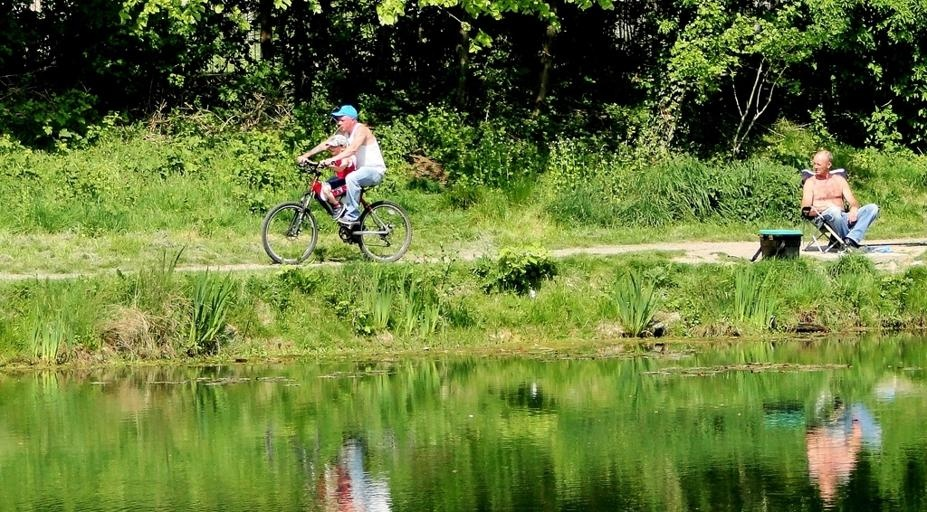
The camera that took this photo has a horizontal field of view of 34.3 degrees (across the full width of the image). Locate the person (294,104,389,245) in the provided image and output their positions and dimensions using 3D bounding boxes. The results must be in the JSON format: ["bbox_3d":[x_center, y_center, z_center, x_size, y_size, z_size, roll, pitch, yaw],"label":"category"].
[{"bbox_3d":[-2.296,-1.820,30.095,1.213,2.484,0.674,-2,3,-40],"label":"person"}]

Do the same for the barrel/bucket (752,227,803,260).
[{"bbox_3d":[6.293,-0.259,29.930,0.684,0.422,0.837,-3,4,-4],"label":"barrel/bucket"}]

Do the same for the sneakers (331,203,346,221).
[{"bbox_3d":[-2.545,-0.911,30.326,0.179,0.372,0.152,15,22,-23],"label":"sneakers"}]

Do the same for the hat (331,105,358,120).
[{"bbox_3d":[-2.384,-2.968,30.038,0.427,0.233,0.315,7,-6,-9],"label":"hat"}]

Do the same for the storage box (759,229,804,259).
[{"bbox_3d":[6.279,-0.263,29.905,0.695,0.404,0.591,4,6,30],"label":"storage box"}]

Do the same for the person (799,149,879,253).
[{"bbox_3d":[7.551,-1.158,30.483,1.340,2.020,0.546,1,2,13],"label":"person"}]

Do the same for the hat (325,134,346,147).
[{"bbox_3d":[-2.568,-2.354,29.981,0.325,0.163,0.232,3,9,34],"label":"hat"}]
